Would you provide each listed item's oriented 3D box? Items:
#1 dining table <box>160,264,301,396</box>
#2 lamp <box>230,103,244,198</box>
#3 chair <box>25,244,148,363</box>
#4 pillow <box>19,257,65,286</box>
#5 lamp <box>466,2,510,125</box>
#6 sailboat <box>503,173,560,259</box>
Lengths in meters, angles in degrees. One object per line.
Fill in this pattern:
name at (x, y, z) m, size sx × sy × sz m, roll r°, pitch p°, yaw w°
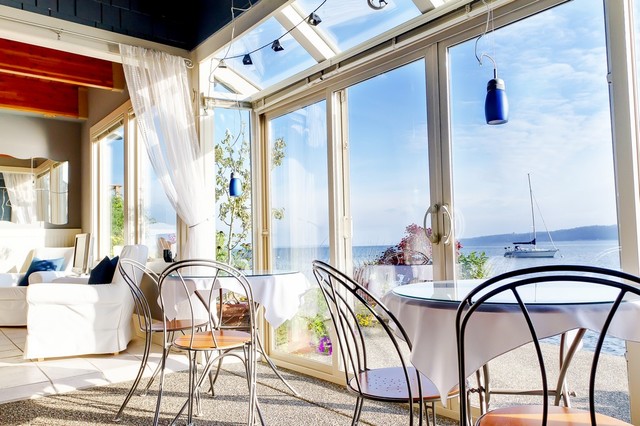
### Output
dining table at (-0.750, 1.002, 4.019) m, size 0.935 × 1.325 × 0.983 m, roll 2°, pitch 15°, yaw 13°
lamp at (-0.854, -0.607, 4.950) m, size 0.120 × 0.897 × 0.451 m, roll 0°, pitch -3°, yaw -7°
chair at (-2.577, 1.037, 5.358) m, size 1.178 × 1.125 × 1.159 m, roll 9°, pitch -16°, yaw -31°
pillow at (-3.644, 0.772, 6.335) m, size 0.352 × 0.307 × 0.162 m, roll 0°, pitch -10°, yaw 6°
lamp at (1.176, -1.029, 3.296) m, size 0.224 × 0.904 × 0.421 m, roll -2°, pitch -3°, yaw 19°
sailboat at (1.443, 0.025, 3.309) m, size 0.356 × 0.579 × 0.026 m, roll -3°, pitch -4°, yaw 41°
